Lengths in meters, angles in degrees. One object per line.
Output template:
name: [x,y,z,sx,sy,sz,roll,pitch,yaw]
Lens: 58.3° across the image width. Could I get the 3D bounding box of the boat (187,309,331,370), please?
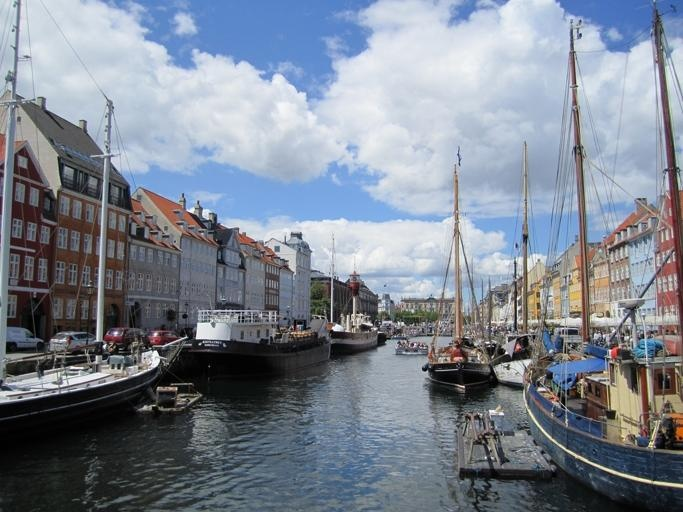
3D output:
boat: [-5.976,7.651,55.709,5.132,5.313,25.315,1,-1,13]
